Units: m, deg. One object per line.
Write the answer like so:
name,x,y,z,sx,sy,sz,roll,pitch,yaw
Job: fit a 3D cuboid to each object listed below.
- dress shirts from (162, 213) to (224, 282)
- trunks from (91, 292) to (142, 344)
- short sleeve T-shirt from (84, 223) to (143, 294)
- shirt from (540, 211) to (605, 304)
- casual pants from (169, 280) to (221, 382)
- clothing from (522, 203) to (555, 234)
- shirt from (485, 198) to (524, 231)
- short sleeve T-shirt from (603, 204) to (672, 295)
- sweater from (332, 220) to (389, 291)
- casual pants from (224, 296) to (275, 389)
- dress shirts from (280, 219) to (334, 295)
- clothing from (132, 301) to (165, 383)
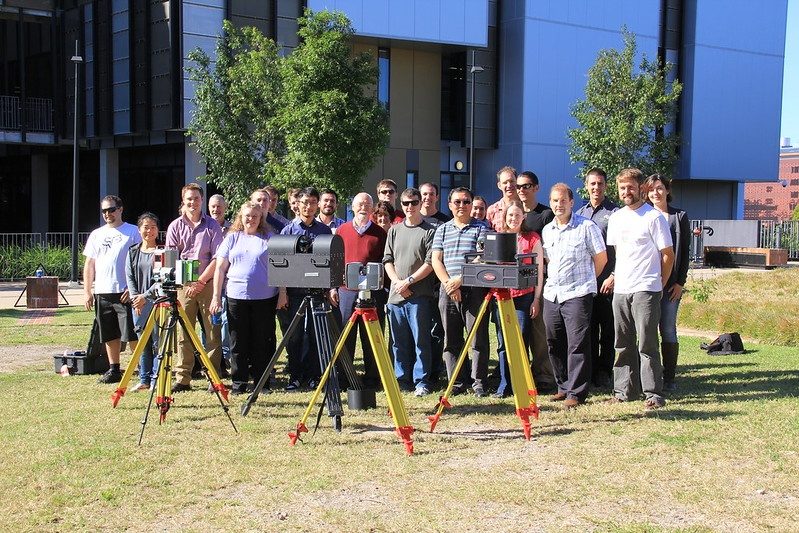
dress shirts,-3.807,-0.324,18.106,1.036,1.293,0.669,2,-2,-11
trunks,-5.136,0.911,18.027,0.882,1.239,0.517,0,-1,0
short sleeve T-shirt,-5.203,-0.122,18.078,1.128,1.393,0.511,-1,-10,3
shirt,2.983,-0.134,17.224,1.498,1.678,0.847,-3,-3,39
casual pants,-3.641,1.158,17.845,0.599,1.530,0.352,-14,-29,33
clothing,2.502,-0.847,17.868,0.456,0.430,0.153,16,-14,25
shirt,1.887,-0.902,17.578,0.466,0.605,0.331,11,-38,-5
short sleeve T-shirt,4.130,-0.266,16.999,1.508,1.844,0.921,-1,-1,39
sweater,-0.716,-0.425,18.230,0.899,0.531,0.926,7,-47,6
casual pants,-2.697,1.264,17.828,0.586,2.091,0.874,-1,-7,-7
dress shirts,-1.545,-0.106,16.360,1.280,1.303,0.762,0,-1,13
clothing,-4.499,1.399,18.042,0.264,1.245,0.353,-7,-20,28
